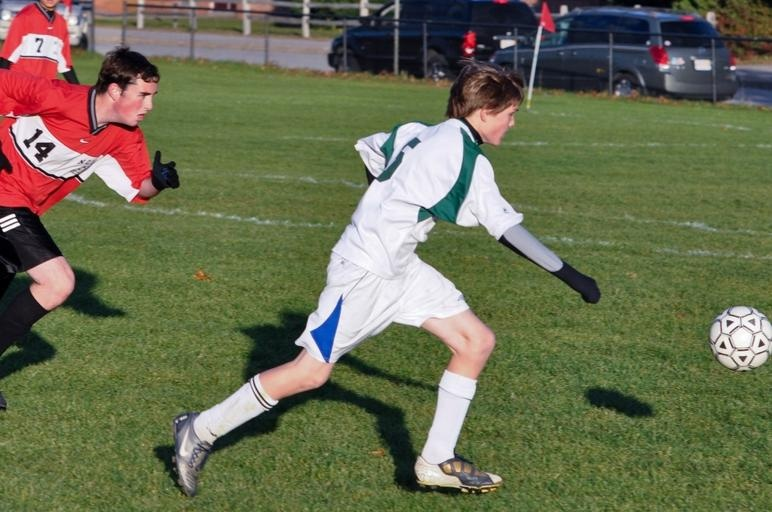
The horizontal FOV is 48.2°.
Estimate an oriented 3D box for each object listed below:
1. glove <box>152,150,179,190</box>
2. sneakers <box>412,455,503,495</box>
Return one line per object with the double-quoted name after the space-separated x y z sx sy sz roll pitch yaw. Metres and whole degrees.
-1.629 -0.631 6.415 0.299 0.283 0.142 2 21 9 "glove"
0.452 1.435 5.726 0.609 0.218 0.228 0 4 -4 "sneakers"
